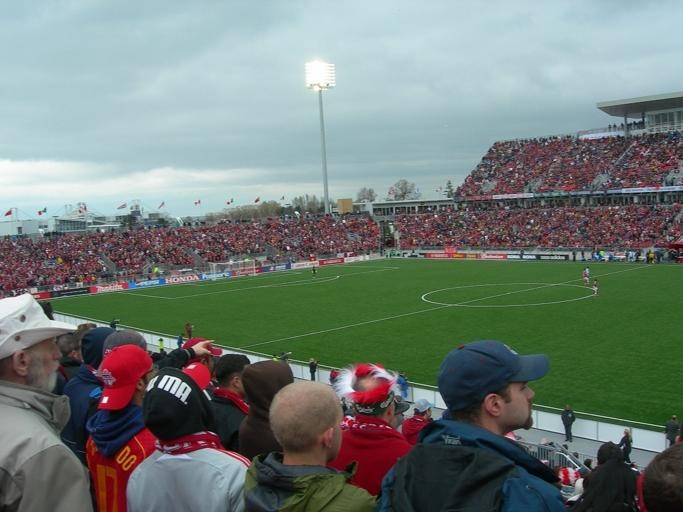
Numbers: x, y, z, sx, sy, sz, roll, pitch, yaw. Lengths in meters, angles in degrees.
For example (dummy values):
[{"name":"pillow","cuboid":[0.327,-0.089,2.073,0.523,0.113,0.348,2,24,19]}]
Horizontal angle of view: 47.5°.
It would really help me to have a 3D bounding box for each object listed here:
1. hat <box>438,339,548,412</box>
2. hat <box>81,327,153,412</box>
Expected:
[{"name":"hat","cuboid":[1.409,1.024,7.562,1.151,0.524,0.716,-21,7,2]},{"name":"hat","cuboid":[-2.896,1.320,10.119,0.778,0.545,1.114,-6,12,9]}]
